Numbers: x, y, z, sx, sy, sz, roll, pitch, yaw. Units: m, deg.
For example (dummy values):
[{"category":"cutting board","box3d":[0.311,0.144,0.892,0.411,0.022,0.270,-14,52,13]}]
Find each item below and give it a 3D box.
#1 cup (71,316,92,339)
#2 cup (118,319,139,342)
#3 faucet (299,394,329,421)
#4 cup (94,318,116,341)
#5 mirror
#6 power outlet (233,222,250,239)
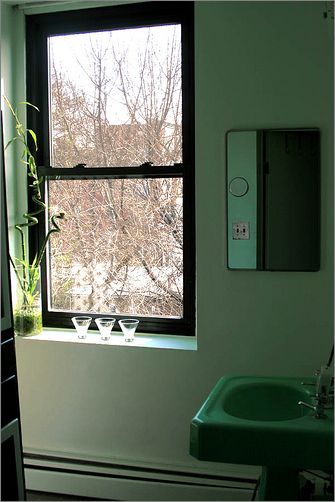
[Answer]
[{"category":"cup","box3d":[-0.436,0.382,2.300,0.099,0.113,0.110,3,6,19]},{"category":"cup","box3d":[-0.188,0.379,2.179,0.101,0.100,0.103,-1,3,0]},{"category":"faucet","box3d":[0.417,0.446,1.254,0.109,0.071,0.048,4,0,9]},{"category":"cup","box3d":[-0.313,0.384,2.213,0.100,0.100,0.102,0,2,0]},{"category":"mirror","box3d":[0.451,-0.216,1.913,0.396,0.598,0.038,2,6,13]},{"category":"power outlet","box3d":[0.326,-0.091,1.958,0.067,0.073,0.007,3,7,20]}]
